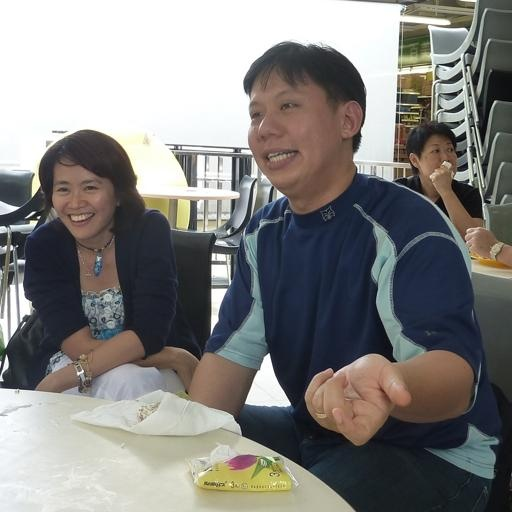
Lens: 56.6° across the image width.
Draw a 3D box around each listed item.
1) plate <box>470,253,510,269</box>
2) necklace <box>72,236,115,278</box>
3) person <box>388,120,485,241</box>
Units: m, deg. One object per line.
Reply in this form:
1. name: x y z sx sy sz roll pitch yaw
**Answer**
1. plate: 0.888 0.026 1.810 0.097 0.020 0.064 22 5 27
2. necklace: -0.532 0.004 1.591 0.073 0.153 0.016 -1 3 3
3. person: 1.110 -0.341 2.924 0.450 0.928 0.435 -4 1 33
